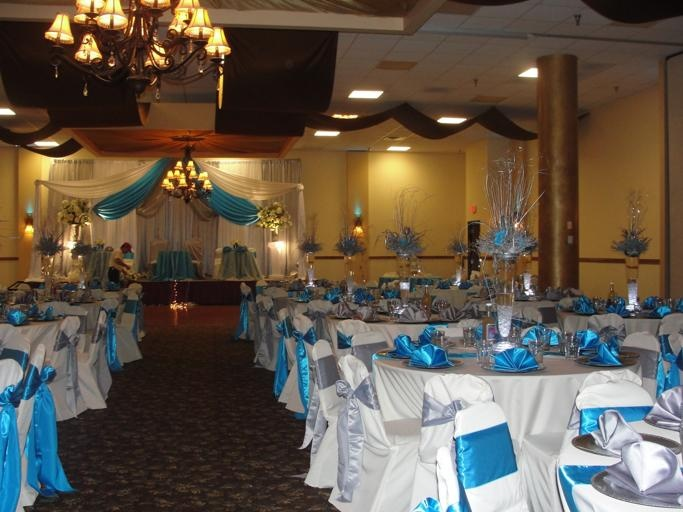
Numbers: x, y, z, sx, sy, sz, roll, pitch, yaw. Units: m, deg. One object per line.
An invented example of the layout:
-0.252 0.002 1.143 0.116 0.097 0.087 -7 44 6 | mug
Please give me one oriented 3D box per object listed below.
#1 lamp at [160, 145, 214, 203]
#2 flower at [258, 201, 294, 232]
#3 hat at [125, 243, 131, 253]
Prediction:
-3.719 -1.798 13.902 1.293 1.896 1.322 3 -2 -29 | lamp
-1.741 -0.997 14.844 0.797 0.909 0.860 0 -1 15 | flower
-5.872 -0.209 15.311 0.148 0.211 0.215 0 -45 -2 | hat
